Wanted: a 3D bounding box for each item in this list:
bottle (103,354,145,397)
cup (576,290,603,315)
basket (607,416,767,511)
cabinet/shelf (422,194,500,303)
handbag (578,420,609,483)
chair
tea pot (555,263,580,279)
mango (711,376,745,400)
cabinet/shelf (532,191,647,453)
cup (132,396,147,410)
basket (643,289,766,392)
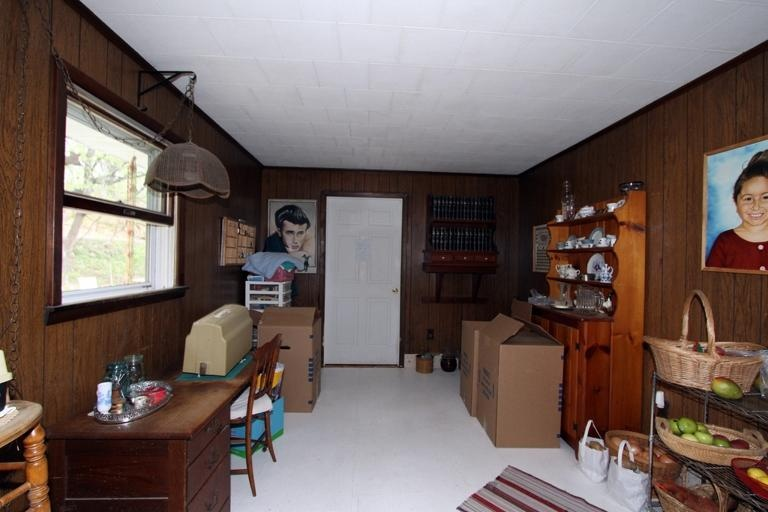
[{"bbox_3d":[-1.694,0.789,3.409,0.190,0.277,0.278,2,0,-9],"label":"bottle"},{"bbox_3d":[1.828,0.404,4.607,0.219,0.235,0.167,2,-4,17],"label":"cup"},{"bbox_3d":[2.069,1.400,3.679,0.676,0.342,0.801,0,-12,5],"label":"basket"},{"bbox_3d":[0.917,-0.051,6.310,0.882,1.319,0.498,1,14,4],"label":"cabinet/shelf"},{"bbox_3d":[1.686,1.585,4.160,0.203,0.483,0.385,2,-9,0],"label":"handbag"},{"bbox_3d":[-1.023,1.181,4.064,0.399,1.079,0.741,-1,14,-4],"label":"chair"},{"bbox_3d":[1.828,0.156,5.075,0.167,0.129,0.127,2,-3,10],"label":"tea pot"},{"bbox_3d":[2.180,0.836,3.286,0.166,0.116,0.125,23,27,35],"label":"mango"},{"bbox_3d":[1.842,0.474,4.700,0.769,2.161,1.128,1,14,0],"label":"cabinet/shelf"},{"bbox_3d":[-1.569,0.935,3.301,0.065,0.054,0.073,-6,-14,32],"label":"cup"},{"bbox_3d":[2.224,0.552,3.624,0.730,0.678,0.606,2,-4,7],"label":"basket"}]
